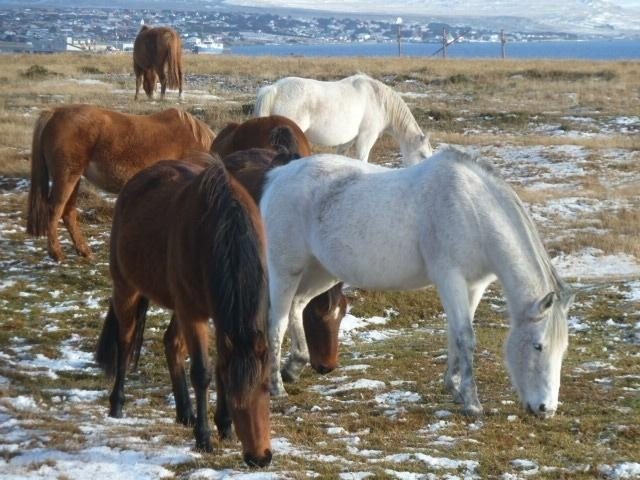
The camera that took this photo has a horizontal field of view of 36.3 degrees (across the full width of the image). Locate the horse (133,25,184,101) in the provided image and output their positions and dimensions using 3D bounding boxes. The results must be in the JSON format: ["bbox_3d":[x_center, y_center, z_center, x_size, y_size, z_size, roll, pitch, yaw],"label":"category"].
[{"bbox_3d":[-5.564,-5.808,32.549,0.897,2.471,3.663,-6,11,-34],"label":"horse"}]
